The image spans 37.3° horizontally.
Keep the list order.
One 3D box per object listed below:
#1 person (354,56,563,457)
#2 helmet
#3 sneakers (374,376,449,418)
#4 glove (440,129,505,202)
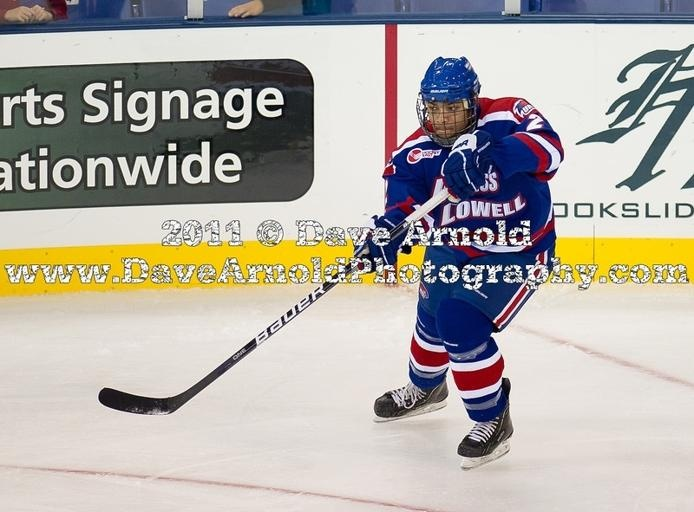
[{"bbox_3d":[0.460,0.016,4.182,0.747,1.621,0.405,4,11,11],"label":"person"},{"bbox_3d":[0.406,-0.619,4.118,0.250,0.352,0.123,3,11,4],"label":"helmet"},{"bbox_3d":[0.264,0.626,4.470,0.364,0.151,0.127,-10,38,-4],"label":"sneakers"},{"bbox_3d":[0.474,-0.353,4.025,0.114,0.256,0.195,46,-11,-26],"label":"glove"}]
